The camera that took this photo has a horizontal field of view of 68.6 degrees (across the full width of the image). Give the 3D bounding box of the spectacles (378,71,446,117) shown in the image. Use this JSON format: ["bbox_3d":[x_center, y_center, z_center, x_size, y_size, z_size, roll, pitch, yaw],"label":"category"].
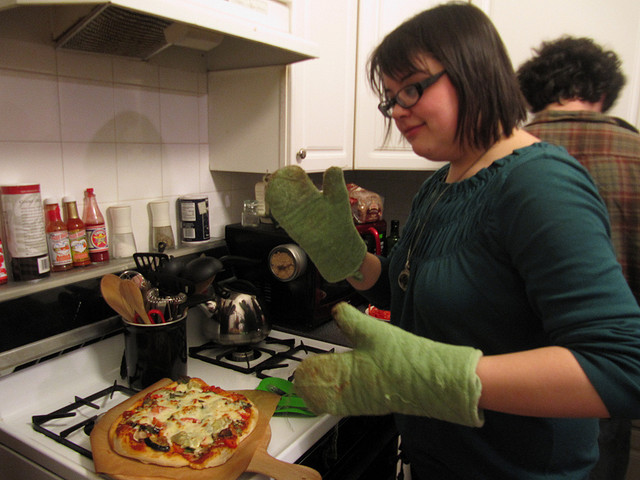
[{"bbox_3d":[0.174,-0.294,0.964,0.068,0.067,0.187,-9,11,-19],"label":"spectacles"}]

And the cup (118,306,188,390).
[{"bbox_3d":[-0.450,0.306,1.398,0.204,0.221,0.206,0,4,0],"label":"cup"}]

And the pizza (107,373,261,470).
[{"bbox_3d":[-0.322,0.429,1.165,0.359,0.040,0.391,8,12,-1],"label":"pizza"}]

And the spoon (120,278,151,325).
[{"bbox_3d":[-0.512,0.168,1.287,0.105,0.130,0.035,3,13,36],"label":"spoon"}]

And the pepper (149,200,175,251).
[{"bbox_3d":[-0.546,-0.053,1.655,0.054,0.181,0.086,5,14,41],"label":"pepper"}]

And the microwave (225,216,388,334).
[{"bbox_3d":[-0.010,0.120,1.958,0.393,0.373,0.583,5,10,34],"label":"microwave"}]

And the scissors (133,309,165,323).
[{"bbox_3d":[-0.474,0.205,1.302,0.047,0.014,0.048,23,25,31],"label":"scissors"}]

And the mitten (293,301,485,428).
[{"bbox_3d":[0.116,0.211,0.782,0.261,0.180,0.104,20,9,11],"label":"mitten"}]

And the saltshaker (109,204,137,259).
[{"bbox_3d":[-0.640,-0.030,1.539,0.065,0.172,0.091,5,14,43],"label":"saltshaker"}]
